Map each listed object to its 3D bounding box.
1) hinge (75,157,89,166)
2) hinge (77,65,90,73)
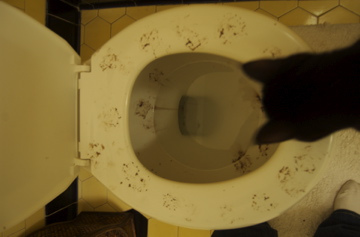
[{"bbox_3d":[-0.418,0.186,1.707,0.048,0.036,0.031,4,88,4],"label":"hinge"},{"bbox_3d":[-0.407,-0.208,1.692,0.041,0.031,0.027,4,79,2],"label":"hinge"}]
